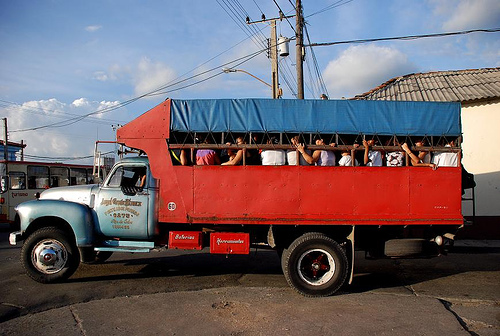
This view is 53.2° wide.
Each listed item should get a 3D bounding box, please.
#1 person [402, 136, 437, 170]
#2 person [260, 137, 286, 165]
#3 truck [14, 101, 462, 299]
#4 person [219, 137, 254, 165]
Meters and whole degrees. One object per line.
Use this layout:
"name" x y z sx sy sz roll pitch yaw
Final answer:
"person" 4.142 -0.384 12.169 0.777 0.755 0.753 6 11 29
"person" 0.577 -0.454 12.390 0.712 0.893 0.488 2 5 7
"truck" -0.367 0.750 13.920 11.218 4.404 4.009 0 -2 1
"person" -0.211 -0.324 12.524 0.573 0.809 0.266 -4 -8 24
